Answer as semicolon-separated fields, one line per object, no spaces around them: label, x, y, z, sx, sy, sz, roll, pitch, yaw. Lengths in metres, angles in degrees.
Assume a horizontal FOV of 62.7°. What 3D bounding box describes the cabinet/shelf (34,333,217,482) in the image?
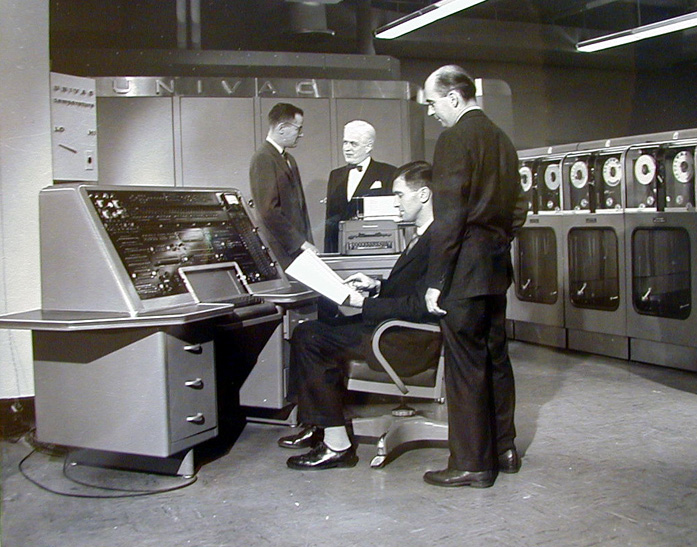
cabinet/shelf;-0.959;0.523;2.596;0.903;0.845;0.482;-2;-1;15

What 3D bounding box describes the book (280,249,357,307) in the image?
book;-0.129;0.020;2.687;0.335;0.197;0.077;39;2;6

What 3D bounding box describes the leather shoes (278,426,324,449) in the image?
leather shoes;-0.227;0.823;2.908;0.250;0.103;0.093;2;-3;-13

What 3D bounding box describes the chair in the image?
chair;0.242;0.547;2.796;0.615;0.689;0.657;0;0;1

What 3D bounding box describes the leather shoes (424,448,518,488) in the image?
leather shoes;0.507;0.800;2.485;0.450;0.200;0.157;0;-2;13

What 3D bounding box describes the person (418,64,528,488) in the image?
person;0.546;-0.002;2.452;0.434;1.776;0.360;0;6;9

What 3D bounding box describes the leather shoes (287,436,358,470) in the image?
leather shoes;-0.109;0.831;2.668;0.279;0.115;0.129;2;-8;-7

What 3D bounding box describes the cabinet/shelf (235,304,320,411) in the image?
cabinet/shelf;-0.369;0.454;3.298;0.473;0.709;0.510;1;-2;-5

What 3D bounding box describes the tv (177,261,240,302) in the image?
tv;-0.639;0.043;2.739;0.137;0.171;0.355;1;6;22
